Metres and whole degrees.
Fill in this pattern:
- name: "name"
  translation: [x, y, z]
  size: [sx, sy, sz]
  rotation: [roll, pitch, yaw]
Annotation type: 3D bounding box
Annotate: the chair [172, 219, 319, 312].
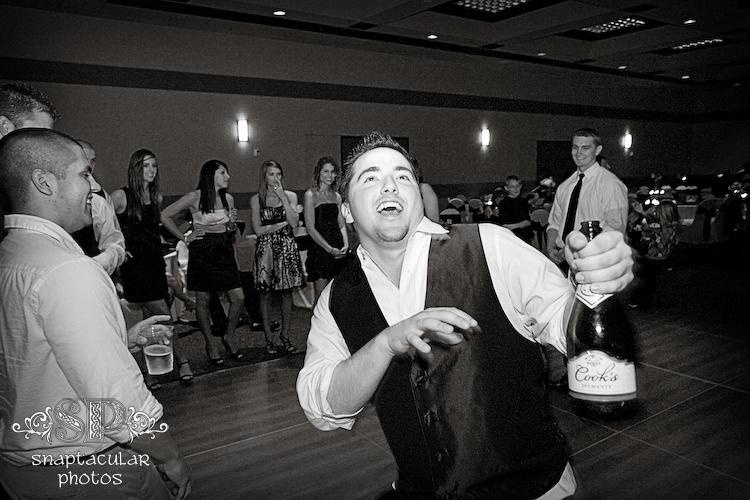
- name: "chair"
  translation: [-1.347, 0.214, 6.289]
  size: [1.097, 1.354, 1.572]
  rotation: [-4, -8, 27]
